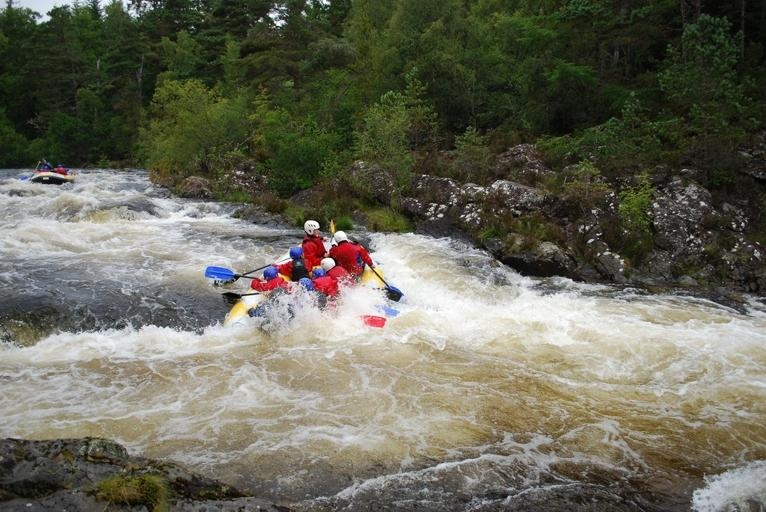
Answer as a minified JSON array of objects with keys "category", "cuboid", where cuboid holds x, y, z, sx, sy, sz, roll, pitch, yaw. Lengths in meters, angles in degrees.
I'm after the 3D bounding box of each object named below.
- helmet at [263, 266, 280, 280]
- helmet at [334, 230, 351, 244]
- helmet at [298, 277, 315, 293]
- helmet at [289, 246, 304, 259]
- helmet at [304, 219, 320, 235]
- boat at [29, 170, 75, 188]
[{"category":"helmet","cuboid":[-3.458,0.492,20.508,0.400,0.411,0.455,3,32,26]},{"category":"helmet","cuboid":[-1.371,-0.648,22.048,0.367,0.386,0.499,-3,7,-16]},{"category":"helmet","cuboid":[-2.327,0.874,20.277,0.433,0.366,0.382,39,-10,4]},{"category":"helmet","cuboid":[-2.762,-0.140,20.945,0.330,0.336,0.410,6,28,11]},{"category":"helmet","cuboid":[-2.360,-0.980,21.796,0.624,0.476,0.446,11,26,-9]},{"category":"boat","cuboid":[-18.093,-4.300,35.906,2.236,0.607,1.918,-5,16,-39]}]
